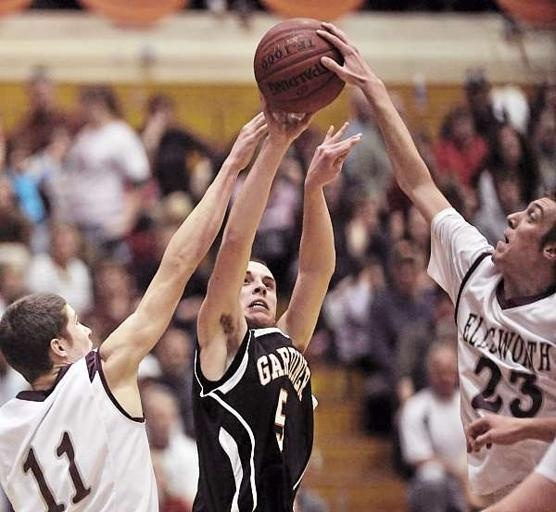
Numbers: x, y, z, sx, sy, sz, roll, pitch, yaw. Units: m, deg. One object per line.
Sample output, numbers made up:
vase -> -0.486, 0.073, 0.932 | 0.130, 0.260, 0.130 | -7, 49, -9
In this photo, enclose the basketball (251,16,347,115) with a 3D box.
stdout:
basketball -> 0.101, -0.954, 5.368 | 0.438, 0.474, 0.466 | -1, 10, 14
